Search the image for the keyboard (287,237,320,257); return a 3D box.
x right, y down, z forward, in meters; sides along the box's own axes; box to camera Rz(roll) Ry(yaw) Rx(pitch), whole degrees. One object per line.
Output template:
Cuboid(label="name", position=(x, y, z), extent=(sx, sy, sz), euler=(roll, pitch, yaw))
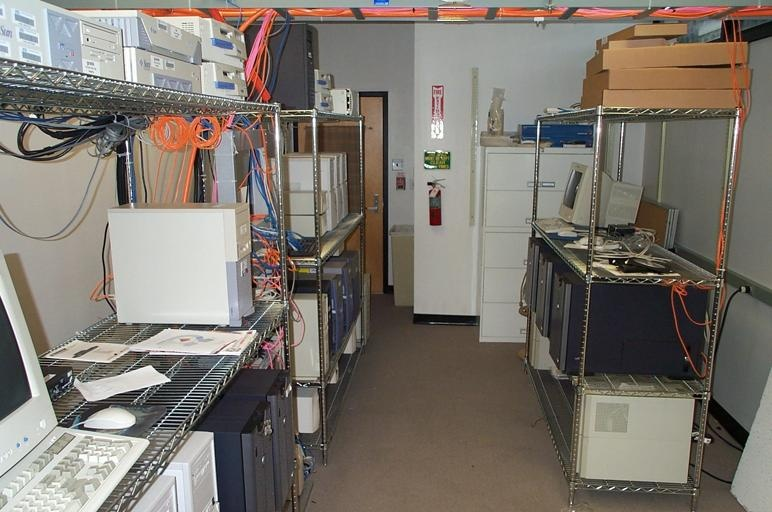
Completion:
Cuboid(label="keyboard", position=(-0.514, -0.047, 3.681), extent=(0.139, 0.049, 0.182), euler=(1, 18, 1))

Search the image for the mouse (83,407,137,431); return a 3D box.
Cuboid(label="mouse", position=(-1.027, 0.602, 2.125), extent=(0.128, 0.039, 0.088), euler=(7, 2, -5))

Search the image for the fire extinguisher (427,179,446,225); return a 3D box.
Cuboid(label="fire extinguisher", position=(0.484, -0.501, 5.587), extent=(0.154, 0.458, 0.097), euler=(0, 16, 5))

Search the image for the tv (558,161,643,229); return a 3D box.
Cuboid(label="tv", position=(1.632, -0.432, 4.425), extent=(0.598, 0.432, 0.594), euler=(2, 13, 10))

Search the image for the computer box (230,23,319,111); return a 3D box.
Cuboid(label="computer box", position=(-0.577, -1.185, 3.571), extent=(0.602, 0.709, 0.394), euler=(0, 15, -3))

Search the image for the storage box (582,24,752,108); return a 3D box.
Cuboid(label="storage box", position=(1.636, -1.066, 3.362), extent=(0.691, 0.335, 0.698), euler=(0, 14, 4))

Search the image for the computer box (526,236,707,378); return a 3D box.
Cuboid(label="computer box", position=(1.460, 0.489, 3.666), extent=(0.684, 0.569, 1.201), euler=(1, 9, 6))
